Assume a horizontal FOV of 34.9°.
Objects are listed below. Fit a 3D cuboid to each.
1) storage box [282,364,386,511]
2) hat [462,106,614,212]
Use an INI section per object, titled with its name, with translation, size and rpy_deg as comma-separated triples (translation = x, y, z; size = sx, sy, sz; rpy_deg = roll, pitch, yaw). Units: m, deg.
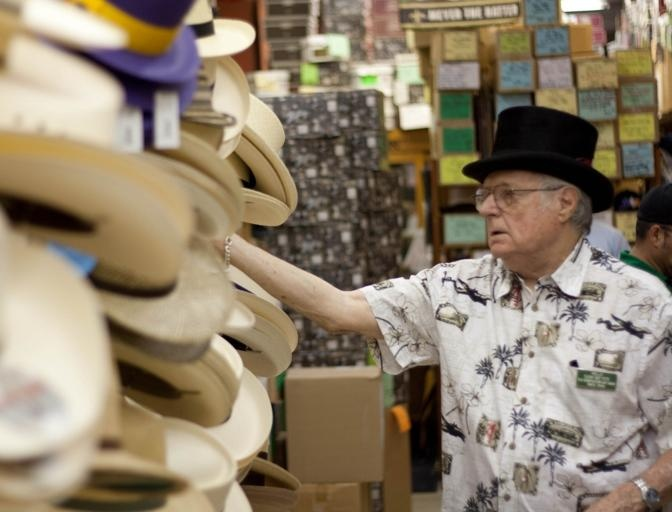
[storage box]
translation = -0.003, 0.615, 3.957
size = 0.523, 0.573, 0.400
rpy_deg = 1, -4, -5
[hat]
translation = 0.565, -0.302, 3.146
size = 0.416, 0.226, 0.388
rpy_deg = 5, -4, 32
